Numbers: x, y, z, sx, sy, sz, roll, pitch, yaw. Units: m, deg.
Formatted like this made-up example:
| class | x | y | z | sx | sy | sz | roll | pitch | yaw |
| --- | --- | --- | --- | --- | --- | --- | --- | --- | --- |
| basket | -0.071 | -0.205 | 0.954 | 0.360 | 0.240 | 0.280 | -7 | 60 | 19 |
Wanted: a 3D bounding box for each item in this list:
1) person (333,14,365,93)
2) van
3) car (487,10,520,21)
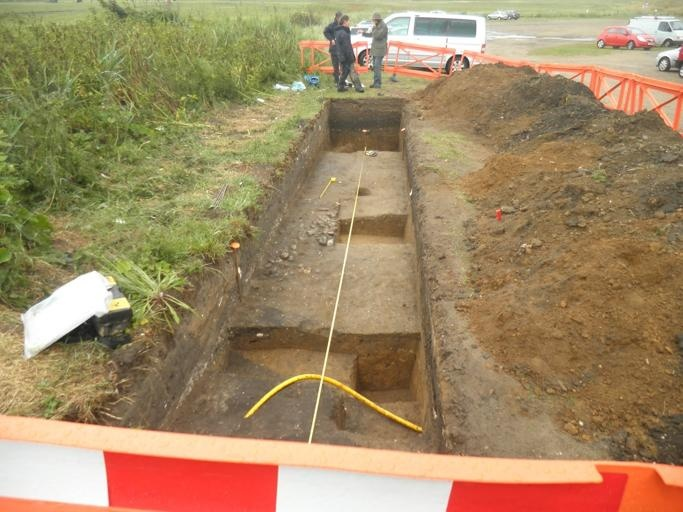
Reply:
| class | x | y | z | sx | sy | sz | roll | pitch | yaw |
| --- | --- | --- | --- | --- | --- | --- | --- | --- | --- |
| person | 0.103 | -4.106 | 11.050 | 0.585 | 1.430 | 0.918 | 0 | 34 | -1 |
| van | 1.978 | -4.886 | 13.165 | 3.789 | 1.385 | 1.719 | 5 | 62 | 5 |
| car | 10.077 | -15.353 | 34.921 | 1.099 | 0.624 | 1.732 | 0 | 37 | 4 |
